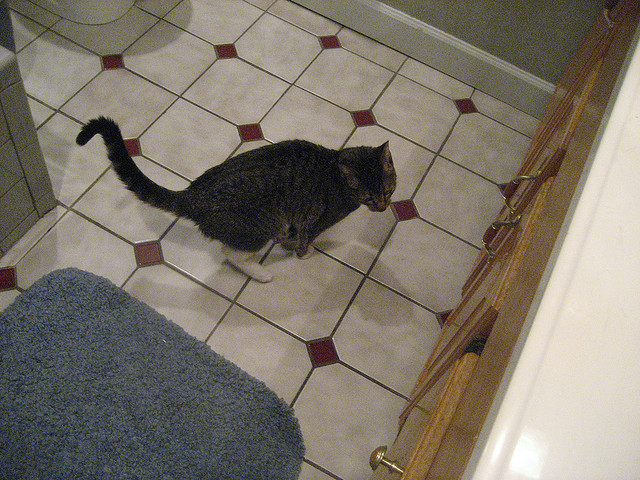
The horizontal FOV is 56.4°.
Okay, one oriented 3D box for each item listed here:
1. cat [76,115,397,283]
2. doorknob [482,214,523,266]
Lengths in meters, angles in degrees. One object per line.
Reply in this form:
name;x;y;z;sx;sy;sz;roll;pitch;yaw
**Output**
cat;-0.261;-0.159;2.037;1.053;0.583;0.333;-1;46;-10
doorknob;0.529;-0.019;1.790;0.098;0.049;0.136;35;109;23
